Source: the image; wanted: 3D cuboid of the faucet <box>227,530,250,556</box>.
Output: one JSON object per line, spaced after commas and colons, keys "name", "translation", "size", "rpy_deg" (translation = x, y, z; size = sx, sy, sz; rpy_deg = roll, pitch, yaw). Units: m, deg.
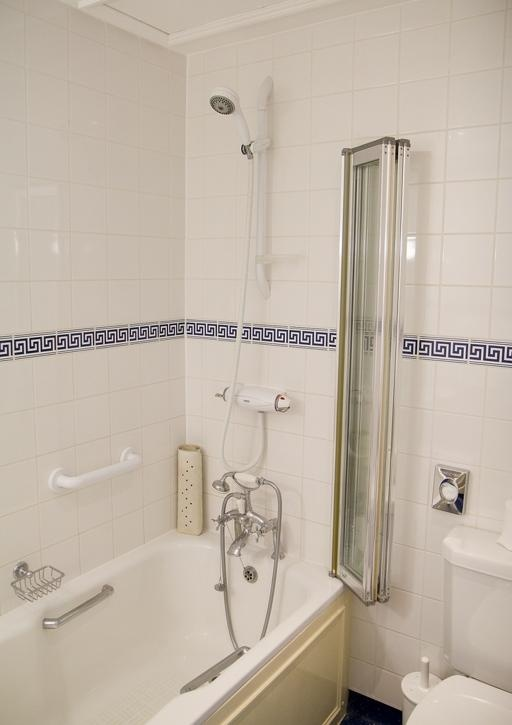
{"name": "faucet", "translation": [-0.063, 0.652, 1.921], "size": [0.057, 0.099, 0.027], "rpy_deg": [4, -22, 43]}
